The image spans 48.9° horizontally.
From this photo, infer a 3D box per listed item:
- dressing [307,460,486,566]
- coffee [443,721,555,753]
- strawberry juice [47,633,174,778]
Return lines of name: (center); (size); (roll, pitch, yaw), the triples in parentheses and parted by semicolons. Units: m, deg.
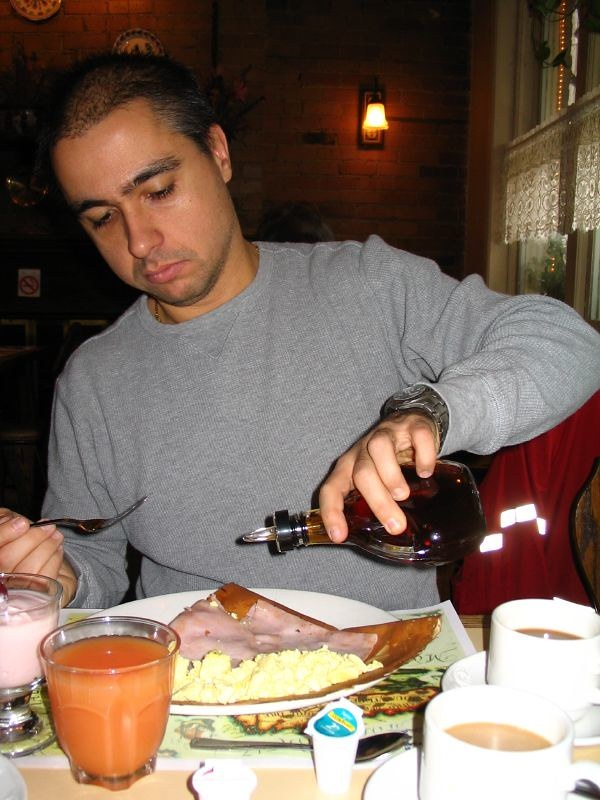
dressing: (0.100, 0.101, 0.774); (0.166, 0.120, 0.187); (4, 5, 39)
coffee: (0.135, 0.214, 0.434); (0.042, 0.015, 0.040); (3, 8, 1)
strawberry juice: (-0.165, 0.253, 0.567); (0.116, 0.110, 0.111); (3, 11, 8)
